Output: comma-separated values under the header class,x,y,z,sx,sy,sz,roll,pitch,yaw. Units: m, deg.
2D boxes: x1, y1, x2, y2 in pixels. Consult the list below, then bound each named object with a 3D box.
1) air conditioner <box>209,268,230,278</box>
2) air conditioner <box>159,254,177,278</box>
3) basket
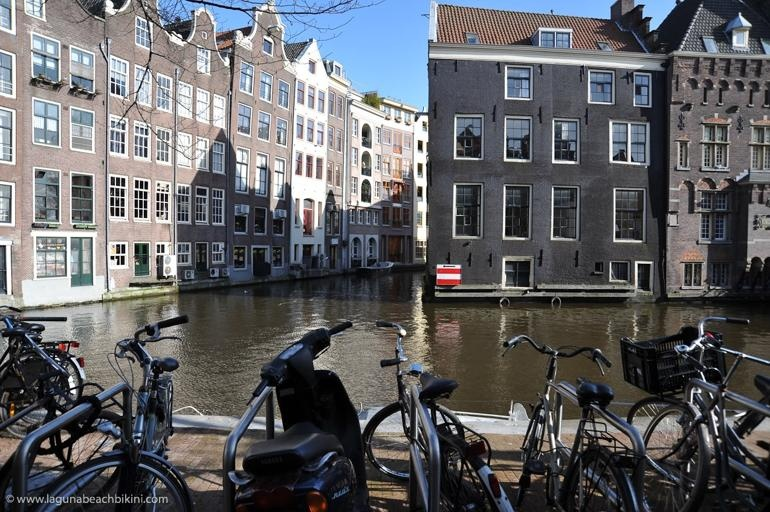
class,x,y,z,sx,sy,sz,roll,pitch,yaw
air conditioner,-8.912,0.910,40.201,0.591,0.462,1.504,-2,0,17
air conditioner,-10.589,0.507,36.614,0.802,0.891,0.327,-1,-1,-43
basket,5.620,2.024,14.750,1.640,0.940,1.198,0,-11,-18
